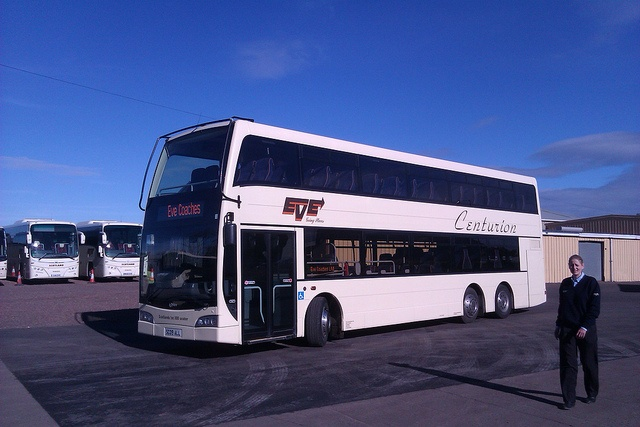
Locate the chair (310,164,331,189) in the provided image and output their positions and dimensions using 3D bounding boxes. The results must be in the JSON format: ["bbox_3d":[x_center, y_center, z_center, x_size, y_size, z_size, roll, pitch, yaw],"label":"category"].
[{"bbox_3d":[0.003,-1.065,13.227,0.461,0.678,0.246,17,-7,-27],"label":"chair"}]

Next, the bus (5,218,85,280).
[{"bbox_3d":[-20.258,2.673,33.232,3.728,4.546,10.328,2,-7,-33],"label":"bus"}]

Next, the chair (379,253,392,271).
[{"bbox_3d":[2.114,1.610,14.753,0.418,0.614,0.554,1,-6,2],"label":"chair"}]

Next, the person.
[{"bbox_3d":[4.590,2.093,8.115,0.694,2.643,0.617,0,-5,19],"label":"person"}]

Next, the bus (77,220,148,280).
[{"bbox_3d":[-14.512,2.556,31.673,3.717,4.177,8.877,3,-9,-31],"label":"bus"}]
